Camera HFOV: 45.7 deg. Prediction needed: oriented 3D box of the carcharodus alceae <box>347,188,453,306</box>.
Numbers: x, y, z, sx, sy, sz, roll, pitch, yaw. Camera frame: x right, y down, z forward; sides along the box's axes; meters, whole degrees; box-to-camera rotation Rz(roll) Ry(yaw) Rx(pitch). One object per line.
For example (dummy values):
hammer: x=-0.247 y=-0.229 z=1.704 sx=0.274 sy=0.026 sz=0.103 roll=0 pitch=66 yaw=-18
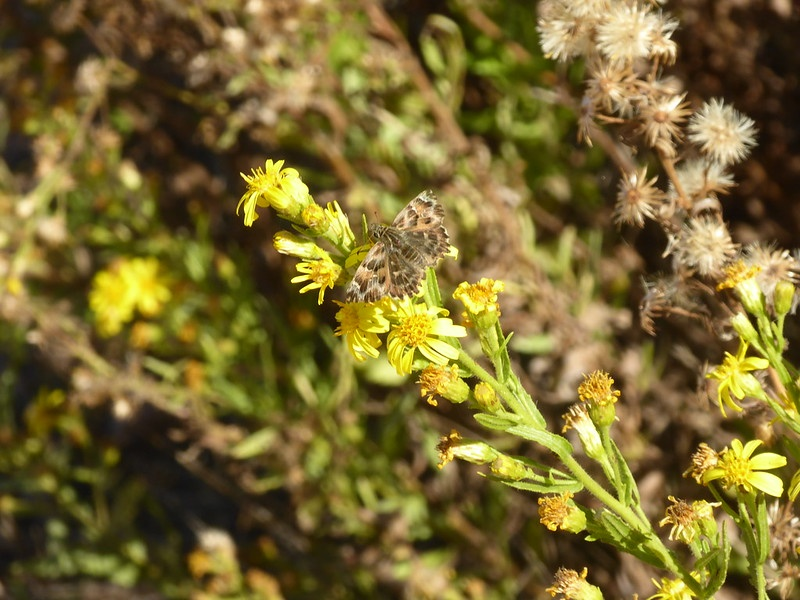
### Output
carcharodus alceae: x=-0.003 y=-0.095 z=1.914 sx=0.207 sy=0.156 sz=0.208 roll=2 pitch=49 yaw=-7
